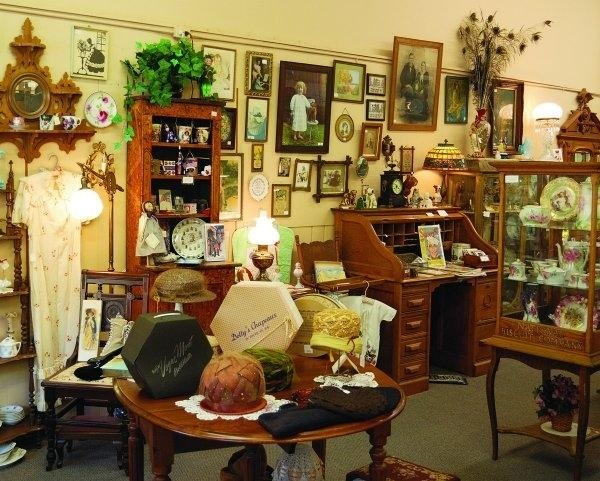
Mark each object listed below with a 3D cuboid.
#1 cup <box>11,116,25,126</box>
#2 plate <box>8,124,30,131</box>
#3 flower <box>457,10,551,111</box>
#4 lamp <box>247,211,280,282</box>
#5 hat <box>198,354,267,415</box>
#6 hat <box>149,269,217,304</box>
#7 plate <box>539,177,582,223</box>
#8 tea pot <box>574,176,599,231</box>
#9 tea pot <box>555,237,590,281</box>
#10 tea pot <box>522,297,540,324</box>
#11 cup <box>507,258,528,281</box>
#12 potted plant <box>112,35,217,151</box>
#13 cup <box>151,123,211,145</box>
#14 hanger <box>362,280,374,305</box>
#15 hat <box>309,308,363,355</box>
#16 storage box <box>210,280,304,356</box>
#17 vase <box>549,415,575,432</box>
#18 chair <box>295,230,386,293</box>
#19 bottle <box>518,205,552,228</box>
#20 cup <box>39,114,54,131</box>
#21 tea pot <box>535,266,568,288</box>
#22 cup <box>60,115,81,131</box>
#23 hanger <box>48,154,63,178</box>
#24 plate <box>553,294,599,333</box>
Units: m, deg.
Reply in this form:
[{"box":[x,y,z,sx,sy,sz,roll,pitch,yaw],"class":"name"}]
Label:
[{"box":[-2.195,-0.920,3.633,0.084,0.090,0.077,1,5,0],"class":"cup"},{"box":[-2.184,-0.877,3.618,0.076,0.046,0.080,0,1,3],"class":"plate"},{"box":[2.873,-2.586,6.672,1.286,1.204,1.299,9,10,-6],"class":"flower"},{"box":[-0.361,0.077,4.632,0.326,0.735,0.731,1,5,-3],"class":"lamp"},{"box":[-0.256,0.521,1.819,0.210,0.196,0.222,0,2,16],"class":"hat"},{"box":[-0.689,0.276,2.803,0.358,0.211,0.208,-1,5,-20],"class":"hat"},{"box":[1.838,-0.286,3.364,0.060,0.277,0.254,-5,4,-37],"class":"plate"},{"box":[2.022,-0.255,3.273,0.155,0.375,0.105,5,6,40],"class":"tea pot"},{"box":[1.992,0.123,3.400,0.183,0.290,0.289,-1,3,-29],"class":"tea pot"},{"box":[1.759,0.539,3.546,0.134,0.199,0.150,-4,-4,44],"class":"tea pot"},{"box":[1.703,0.233,3.644,0.132,0.161,0.141,0,3,0],"class":"cup"},{"box":[-1.220,-1.305,4.302,1.023,1.125,0.838,-4,-1,-25],"class":"potted plant"},{"box":[-1.052,-0.953,4.200,0.302,0.121,0.251,2,3,5],"class":"cup"},{"box":[0.716,0.545,4.915,0.189,0.233,0.022,3,9,10],"class":"hanger"},{"box":[0.169,0.415,2.119,0.221,0.195,0.211,2,5,9],"class":"hat"},{"box":[-0.211,0.376,2.277,0.434,0.351,0.202,5,6,33],"class":"storage box"},{"box":[2.080,1.442,3.703,0.133,0.117,0.146,0,1,-29],"class":"vase"},{"box":[0.402,0.235,5.099,0.673,1.123,0.672,-3,3,-33],"class":"chair"},{"box":[1.796,-0.175,3.572,0.173,0.129,0.158,1,10,0],"class":"bottle"},{"box":[-2.019,-0.939,3.739,0.125,0.131,0.107,-6,10,-43],"class":"cup"},{"box":[1.888,0.271,3.501,0.127,0.086,0.145,-7,9,-39],"class":"tea pot"},{"box":[-1.869,-0.955,3.817,0.139,0.107,0.113,2,-3,-32],"class":"cup"},{"box":[-1.997,-0.613,3.817,0.098,0.188,0.078,-2,6,-35],"class":"hanger"},{"box":[1.948,0.531,3.337,0.206,0.253,0.102,-12,-6,32],"class":"plate"}]
